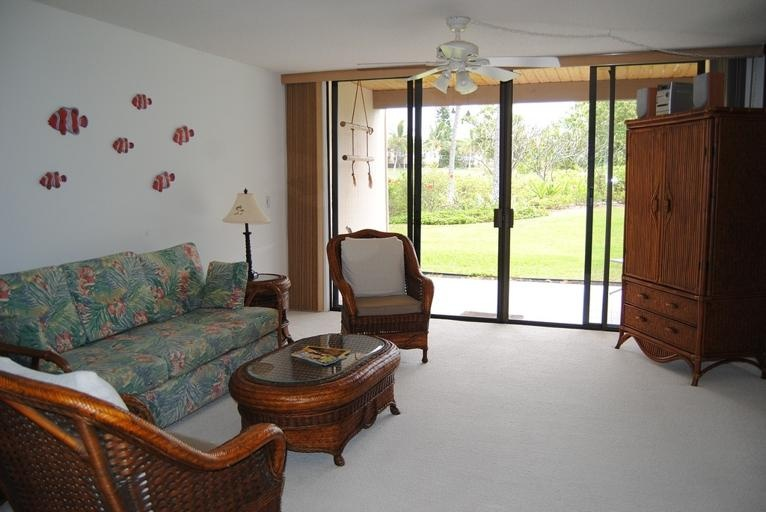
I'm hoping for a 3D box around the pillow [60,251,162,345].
[{"bbox_3d":[-2.213,0.341,4.237,0.152,0.634,0.636,-13,3,41],"label":"pillow"}]

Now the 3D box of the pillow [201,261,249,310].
[{"bbox_3d":[-1.499,0.288,4.940,0.437,0.427,0.133,-2,-11,21],"label":"pillow"}]

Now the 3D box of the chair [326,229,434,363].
[{"bbox_3d":[-0.027,0.349,5.322,1.133,1.238,1.116,2,7,22],"label":"chair"}]

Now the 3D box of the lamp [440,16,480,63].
[{"bbox_3d":[0.619,-1.786,4.283,0.307,0.405,0.675,1,14,7],"label":"lamp"}]

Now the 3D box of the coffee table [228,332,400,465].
[{"bbox_3d":[-0.481,1.071,4.116,1.012,0.576,1.526,6,10,24],"label":"coffee table"}]

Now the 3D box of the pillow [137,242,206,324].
[{"bbox_3d":[-1.902,0.243,4.754,0.195,0.619,0.661,-9,5,32],"label":"pillow"}]

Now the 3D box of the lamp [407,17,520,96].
[{"bbox_3d":[0.607,-1.639,4.290,0.964,0.571,0.914,3,13,1],"label":"lamp"}]
